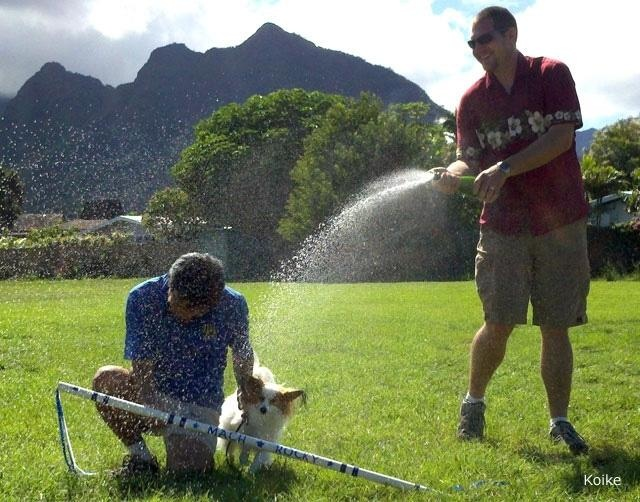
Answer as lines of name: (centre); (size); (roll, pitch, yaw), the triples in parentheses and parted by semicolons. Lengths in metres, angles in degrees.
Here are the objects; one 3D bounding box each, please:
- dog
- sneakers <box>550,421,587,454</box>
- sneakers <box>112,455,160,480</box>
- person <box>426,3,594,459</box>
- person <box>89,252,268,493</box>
dog: (-0.547, 1.328, 6.285); (0.510, 0.905, 1.235); (17, 3, -9)
sneakers: (2.090, 1.547, 6.034); (0.126, 0.178, 0.368); (-4, 18, -23)
sneakers: (-1.463, 1.749, 5.779); (0.387, 0.206, 0.146); (6, -14, -11)
person: (1.732, -0.216, 6.151); (1.194, 2.674, 0.713); (2, 2, 15)
person: (-1.260, 1.201, 6.217); (1.248, 2.757, 1.095); (3, 17, -17)
